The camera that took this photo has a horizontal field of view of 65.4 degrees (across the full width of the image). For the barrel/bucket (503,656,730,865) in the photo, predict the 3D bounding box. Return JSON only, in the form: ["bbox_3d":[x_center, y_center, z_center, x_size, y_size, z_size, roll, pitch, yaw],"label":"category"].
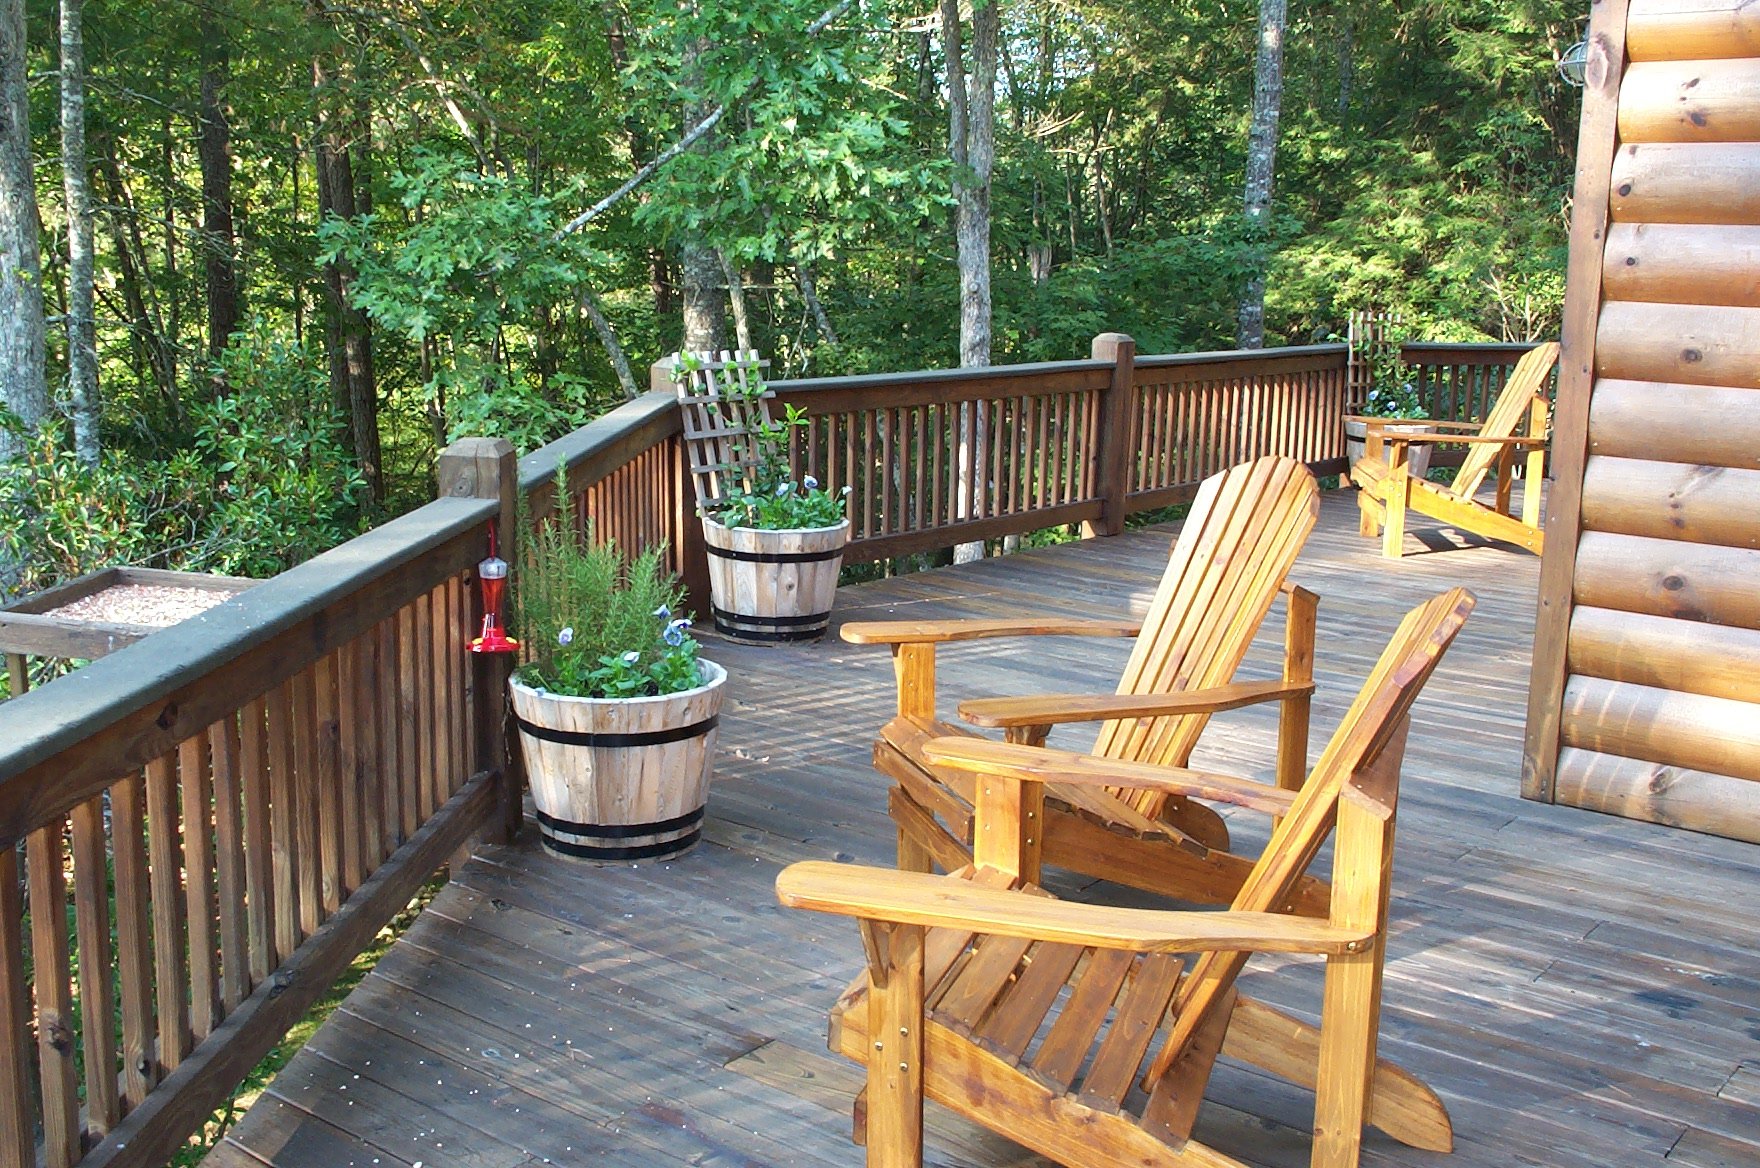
[{"bbox_3d":[-0.746,0.518,4.196,0.600,0.438,0.616,1,10,0],"label":"barrel/bucket"}]

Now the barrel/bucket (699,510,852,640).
[{"bbox_3d":[-0.466,-0.078,6.186,0.606,0.416,0.595,3,11,-1],"label":"barrel/bucket"}]

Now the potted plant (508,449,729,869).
[{"bbox_3d":[-0.808,0.318,4.249,0.601,0.894,0.593,-1,3,-39],"label":"potted plant"}]

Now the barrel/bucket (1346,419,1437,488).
[{"bbox_3d":[3.328,-0.921,9.091,0.665,0.467,0.640,-3,10,0],"label":"barrel/bucket"}]

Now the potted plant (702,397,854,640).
[{"bbox_3d":[-0.538,-0.269,6.331,0.764,1.017,0.722,2,-1,-14],"label":"potted plant"}]

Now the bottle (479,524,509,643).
[{"bbox_3d":[-1.152,0.023,4.086,0.089,0.352,0.274,-5,17,-16],"label":"bottle"}]
